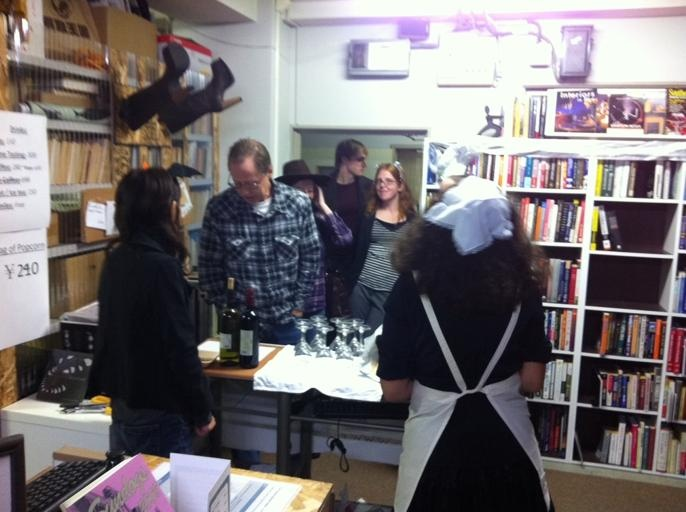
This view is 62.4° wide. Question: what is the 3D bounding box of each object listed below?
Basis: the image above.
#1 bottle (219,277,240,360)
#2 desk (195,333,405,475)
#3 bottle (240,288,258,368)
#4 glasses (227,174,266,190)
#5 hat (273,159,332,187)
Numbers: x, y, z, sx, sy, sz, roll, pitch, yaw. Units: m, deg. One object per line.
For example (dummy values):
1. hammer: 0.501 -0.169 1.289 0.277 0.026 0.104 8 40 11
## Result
1. bottle: -0.528 0.307 2.657 0.102 0.467 0.320 -2 9 -13
2. desk: -0.212 0.698 2.715 0.897 0.818 0.367 1 0 9
3. bottle: -0.441 0.342 2.670 0.094 0.428 0.254 -1 9 -10
4. glasses: -0.482 -0.374 2.939 0.143 0.062 0.098 0 9 -4
5. hat: -0.293 -0.599 4.104 0.325 0.193 0.459 -5 -9 -5
